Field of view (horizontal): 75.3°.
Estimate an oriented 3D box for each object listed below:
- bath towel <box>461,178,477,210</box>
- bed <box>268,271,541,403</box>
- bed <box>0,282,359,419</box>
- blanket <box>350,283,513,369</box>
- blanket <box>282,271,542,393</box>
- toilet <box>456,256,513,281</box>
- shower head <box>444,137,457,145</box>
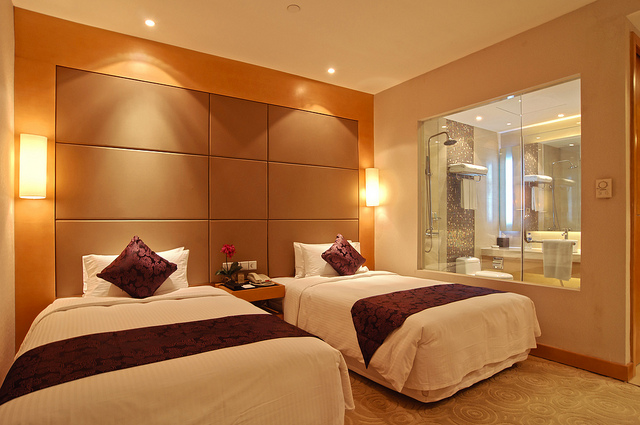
[{"bbox_3d":[1.945,-0.235,5.410,0.202,0.396,0.058,2,-5,-20],"label":"bath towel"},{"bbox_3d":[0.620,1.155,4.359,1.427,0.440,1.636,0,-2,-40],"label":"bed"},{"bbox_3d":[-1.130,1.278,3.567,2.651,0.642,1.548,-1,14,-3],"label":"bed"},{"bbox_3d":[1.720,1.201,4.941,2.813,0.667,1.106,-2,-6,-32],"label":"blanket"},{"bbox_3d":[0.731,1.200,4.393,1.400,0.401,1.481,0,-2,-37],"label":"blanket"},{"bbox_3d":[2.012,0.712,5.285,0.235,0.316,0.435,1,-2,-35],"label":"toilet"},{"bbox_3d":[1.761,-0.965,5.584,0.116,0.035,0.145,4,-6,-5],"label":"shower head"}]
